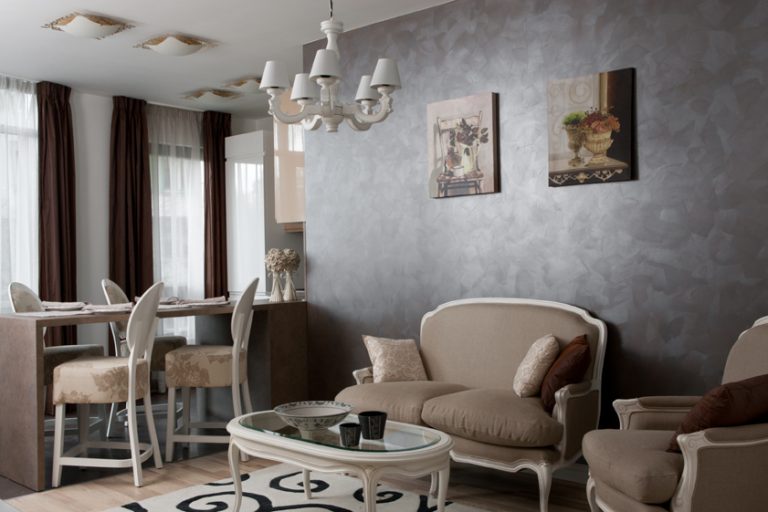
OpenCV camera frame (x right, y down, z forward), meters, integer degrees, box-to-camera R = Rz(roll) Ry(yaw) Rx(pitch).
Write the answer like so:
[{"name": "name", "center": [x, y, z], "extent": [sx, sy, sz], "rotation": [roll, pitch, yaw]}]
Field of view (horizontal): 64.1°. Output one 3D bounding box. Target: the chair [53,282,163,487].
[{"name": "chair", "center": [-2.161, 0.975, 4.777], "extent": [0.866, 1.391, 0.831], "rotation": [5, -9, -42]}]

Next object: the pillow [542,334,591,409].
[{"name": "pillow", "center": [1.280, 0.815, 4.298], "extent": [0.289, 0.458, 0.532], "rotation": [2, 6, 20]}]

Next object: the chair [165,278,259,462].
[{"name": "chair", "center": [-1.471, 0.953, 5.203], "extent": [0.914, 1.393, 0.894], "rotation": [-5, -6, 41]}]

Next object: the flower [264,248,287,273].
[{"name": "flower", "center": [-1.001, 0.049, 5.766], "extent": [0.237, 0.209, 0.100], "rotation": [6, 0, 12]}]

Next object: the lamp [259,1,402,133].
[{"name": "lamp", "center": [-0.384, -1.302, 4.088], "extent": [0.865, 0.950, 0.644], "rotation": [-3, 4, -10]}]

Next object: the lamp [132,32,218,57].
[{"name": "lamp", "center": [-1.958, -1.990, 5.809], "extent": [0.735, 0.118, 0.365], "rotation": [-3, 3, -16]}]

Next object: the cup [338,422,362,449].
[{"name": "cup", "center": [-0.195, 1.021, 3.467], "extent": [0.109, 0.086, 0.119], "rotation": [-1, -12, 0]}]

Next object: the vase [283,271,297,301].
[{"name": "vase", "center": [-0.917, 0.293, 5.885], "extent": [0.113, 0.278, 0.168], "rotation": [-2, 4, 15]}]

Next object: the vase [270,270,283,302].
[{"name": "vase", "center": [-1.043, 0.289, 5.917], "extent": [0.128, 0.280, 0.331], "rotation": [-3, 4, -9]}]

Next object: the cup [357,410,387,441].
[{"name": "cup", "center": [-0.062, 0.974, 3.546], "extent": [0.154, 0.117, 0.159], "rotation": [0, -10, 0]}]
